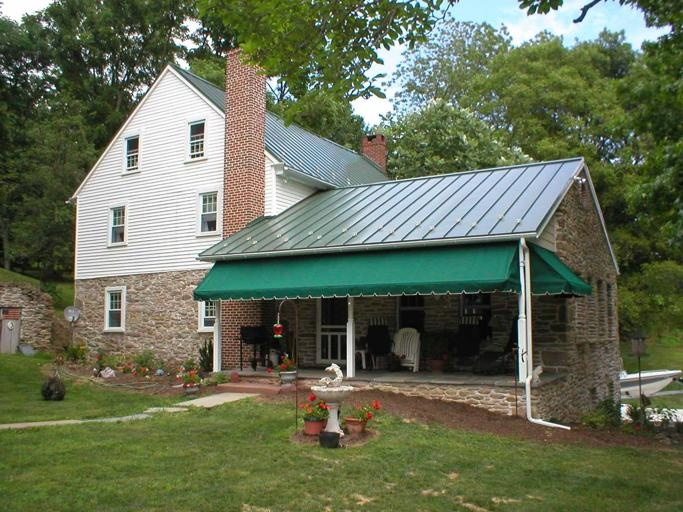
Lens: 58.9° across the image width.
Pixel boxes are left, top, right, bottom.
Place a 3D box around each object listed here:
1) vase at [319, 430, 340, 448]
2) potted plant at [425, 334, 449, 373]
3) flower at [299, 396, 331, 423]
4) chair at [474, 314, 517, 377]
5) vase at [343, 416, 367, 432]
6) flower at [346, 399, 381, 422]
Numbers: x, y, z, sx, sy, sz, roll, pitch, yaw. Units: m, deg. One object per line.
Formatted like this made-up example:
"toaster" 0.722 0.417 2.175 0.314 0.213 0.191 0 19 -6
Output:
"vase" -0.304 4.819 15.906 0.451 0.312 0.442 5 -16 -19
"potted plant" 3.778 3.887 24.309 0.933 1.578 1.349 0 3 -23
"flower" -0.734 4.268 16.841 0.701 0.483 0.719 -11 -17 40
"chair" 5.812 3.414 22.619 1.569 2.372 3.051 2 2 10
"vase" 0.401 4.673 16.843 0.445 0.242 0.434 -3 -5 7
"flower" 0.542 4.500 17.178 0.737 0.440 0.824 1 0 13
